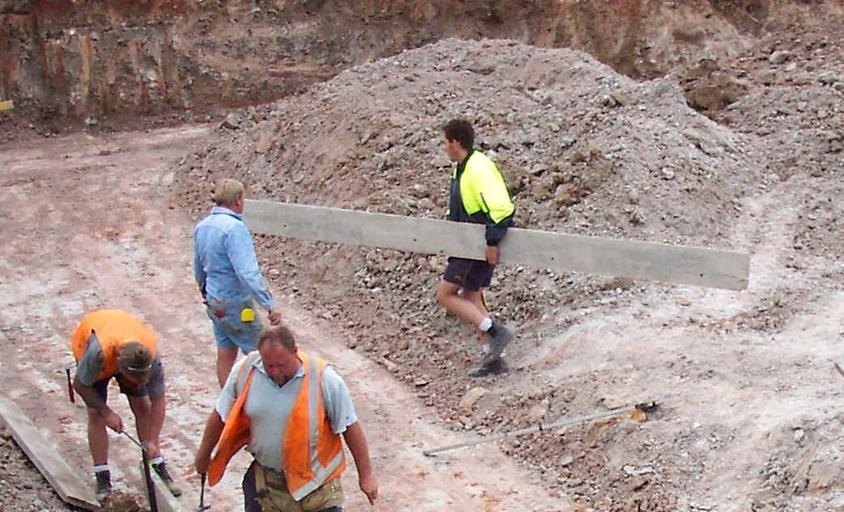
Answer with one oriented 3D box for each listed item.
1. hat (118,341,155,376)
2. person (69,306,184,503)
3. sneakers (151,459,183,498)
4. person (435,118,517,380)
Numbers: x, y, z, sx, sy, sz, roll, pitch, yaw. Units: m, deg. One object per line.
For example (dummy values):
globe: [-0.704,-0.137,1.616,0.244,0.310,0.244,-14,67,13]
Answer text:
hat: [-4.176,1.520,21.363,0.424,0.417,0.519,-5,-14,-16]
person: [-4.447,2.294,21.804,1.307,2.889,0.901,-9,19,-12]
sneakers: [-3.834,3.405,21.931,0.187,0.552,0.236,-39,-2,-46]
person: [0.871,-0.093,23.147,1.095,4.121,0.863,5,21,27]
